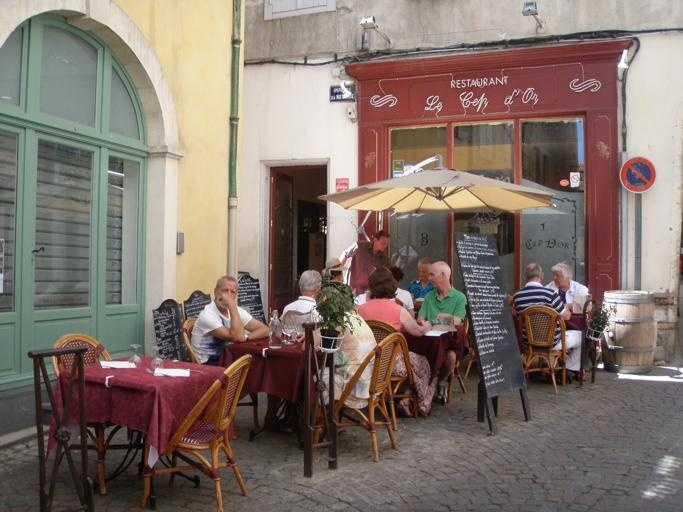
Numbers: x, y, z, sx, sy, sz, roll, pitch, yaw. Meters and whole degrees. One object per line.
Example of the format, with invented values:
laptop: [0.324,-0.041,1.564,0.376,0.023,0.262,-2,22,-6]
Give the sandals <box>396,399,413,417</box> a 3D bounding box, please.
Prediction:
sandals: [0.675,1.575,7.483,0.181,0.204,0.155,-5,-6,38]

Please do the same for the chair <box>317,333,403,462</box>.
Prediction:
chair: [0.180,1.287,6.764,0.721,1.202,0.710,0,0,14]

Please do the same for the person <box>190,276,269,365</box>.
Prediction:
person: [-1.243,0.561,7.390,0.765,1.210,0.762,1,3,33]

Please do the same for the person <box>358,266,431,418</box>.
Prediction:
person: [0.556,0.873,7.595,0.773,1.511,0.741,-4,6,-43]

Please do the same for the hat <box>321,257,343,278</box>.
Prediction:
hat: [-0.076,0.118,8.800,0.201,0.133,0.229,1,11,25]

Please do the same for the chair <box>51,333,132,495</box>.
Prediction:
chair: [-2.128,1.256,6.214,0.716,1.140,0.756,1,0,22]

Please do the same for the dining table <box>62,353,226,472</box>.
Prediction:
dining table: [-1.474,1.137,5.843,0.818,0.531,0.877,2,-2,25]

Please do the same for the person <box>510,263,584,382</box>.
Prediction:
person: [2.501,0.796,8.917,0.738,1.428,0.705,-1,2,33]

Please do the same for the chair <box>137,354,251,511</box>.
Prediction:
chair: [-1.195,1.449,6.313,1.027,1.684,0.951,1,-3,14]

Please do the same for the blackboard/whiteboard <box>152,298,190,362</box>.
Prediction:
blackboard/whiteboard: [-2.103,0.916,8.856,0.362,1.038,0.048,-8,38,-15]

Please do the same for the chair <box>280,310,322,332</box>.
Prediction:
chair: [-0.431,0.604,6.829,0.225,0.224,0.334,1,-13,7]

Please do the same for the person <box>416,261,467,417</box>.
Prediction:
person: [1.121,0.872,8.338,0.620,1.593,0.654,1,0,-33]

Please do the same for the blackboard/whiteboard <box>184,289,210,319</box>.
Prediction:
blackboard/whiteboard: [-1.787,0.596,8.842,0.023,0.341,0.307,-7,-3,28]

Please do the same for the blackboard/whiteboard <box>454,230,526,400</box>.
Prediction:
blackboard/whiteboard: [1.544,0.559,7.473,0.753,1.585,0.667,-6,11,-37]

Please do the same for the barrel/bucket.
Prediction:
barrel/bucket: [3.772,0.957,9.456,0.633,1.092,0.688,-2,6,0]

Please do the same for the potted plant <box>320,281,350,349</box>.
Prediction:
potted plant: [-0.055,0.495,6.385,0.333,0.575,0.249,-1,9,-10]

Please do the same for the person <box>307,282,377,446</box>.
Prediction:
person: [-0.043,0.946,6.601,0.434,1.285,0.652,-18,-24,28]
